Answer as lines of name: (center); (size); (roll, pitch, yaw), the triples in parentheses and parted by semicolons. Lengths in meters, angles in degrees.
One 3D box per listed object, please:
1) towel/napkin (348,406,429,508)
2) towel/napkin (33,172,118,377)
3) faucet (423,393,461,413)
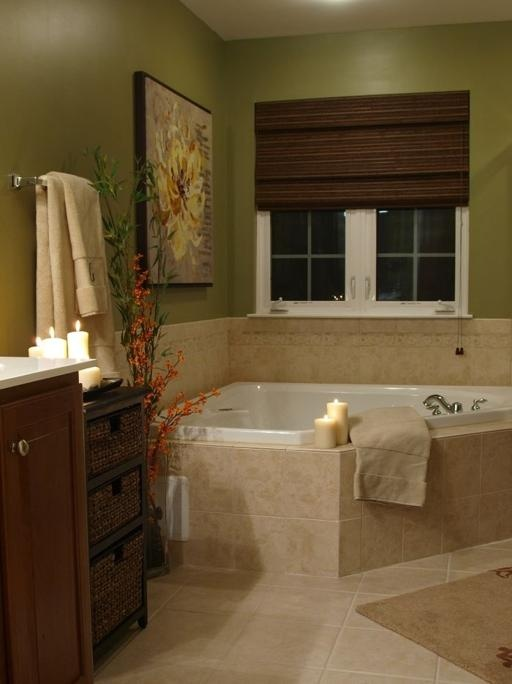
towel/napkin: (0.545, 0.477, 2.353); (0.344, 0.385, 0.389); (-1, -1, 2)
towel/napkin: (-0.561, -0.212, 1.874); (0.139, 0.653, 0.366); (-1, -1, 18)
faucet: (0.981, 0.324, 2.992); (0.086, 0.118, 0.282); (-1, 0, -17)
